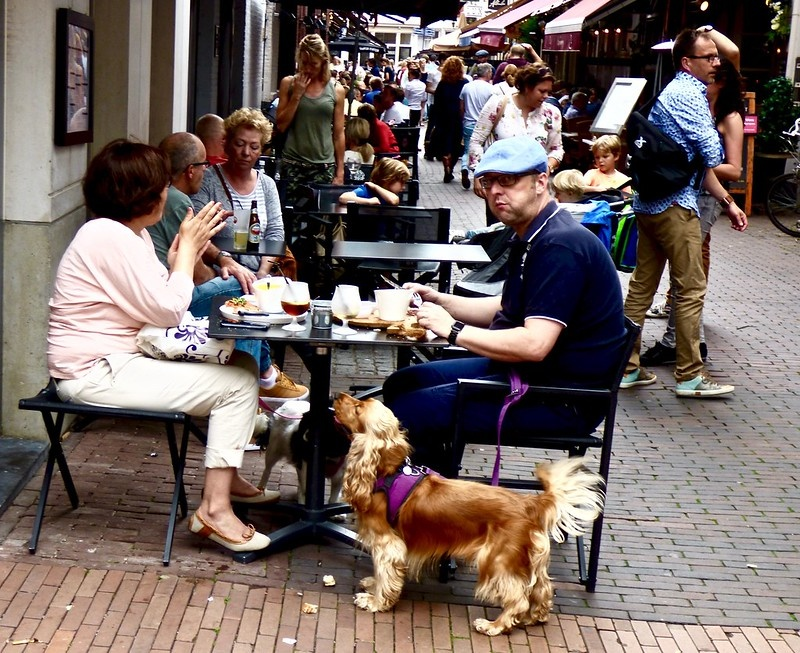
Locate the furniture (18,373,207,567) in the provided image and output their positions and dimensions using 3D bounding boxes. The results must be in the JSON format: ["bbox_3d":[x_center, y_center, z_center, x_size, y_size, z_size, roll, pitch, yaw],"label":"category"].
[{"bbox_3d":[-1.339,0.638,3.393,0.759,0.480,0.625,4,-9,-1],"label":"furniture"}]

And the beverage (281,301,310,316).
[{"bbox_3d":[-0.447,-0.077,3.057,0.093,0.042,0.079,0,0,6],"label":"beverage"}]

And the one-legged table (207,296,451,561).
[{"bbox_3d":[-0.229,0.206,3.601,0.993,0.773,0.716,13,6,39],"label":"one-legged table"}]

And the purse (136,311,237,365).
[{"bbox_3d":[-0.926,0.063,3.174,0.325,0.089,0.271,5,18,-1],"label":"purse"}]
